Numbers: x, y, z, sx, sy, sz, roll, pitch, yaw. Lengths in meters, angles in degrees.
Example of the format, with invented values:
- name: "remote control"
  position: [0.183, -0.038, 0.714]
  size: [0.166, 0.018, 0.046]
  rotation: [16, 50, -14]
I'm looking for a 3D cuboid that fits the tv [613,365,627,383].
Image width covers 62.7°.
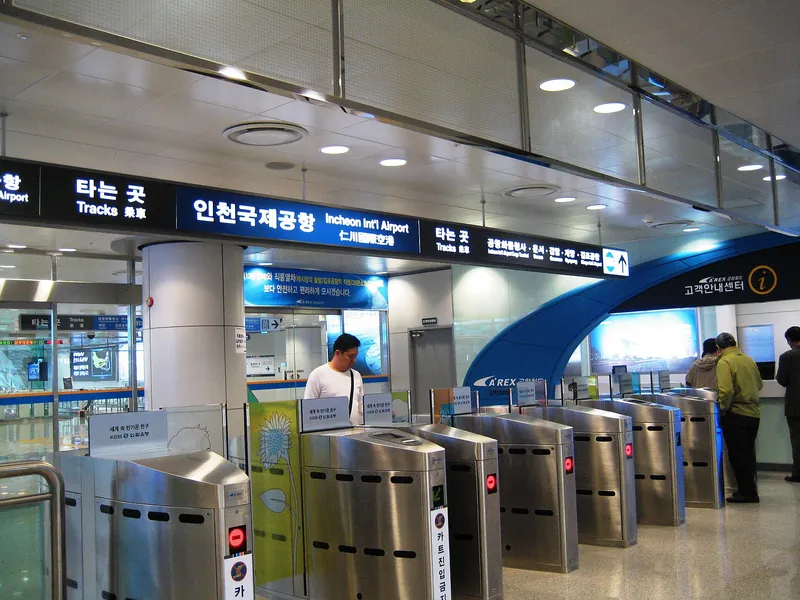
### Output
- name: "tv"
  position: [2.904, 0.981, 8.643]
  size: [0.220, 0.306, 0.171]
  rotation: [0, -3, 23]

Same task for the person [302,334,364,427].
- name: "person"
  position: [-0.590, 0.710, 5.850]
  size: [0.501, 0.788, 0.342]
  rotation: [-1, -6, -5]

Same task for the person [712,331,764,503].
- name: "person"
  position: [4.082, 1.405, 7.921]
  size: [0.737, 2.004, 0.367]
  rotation: [2, -6, -32]
